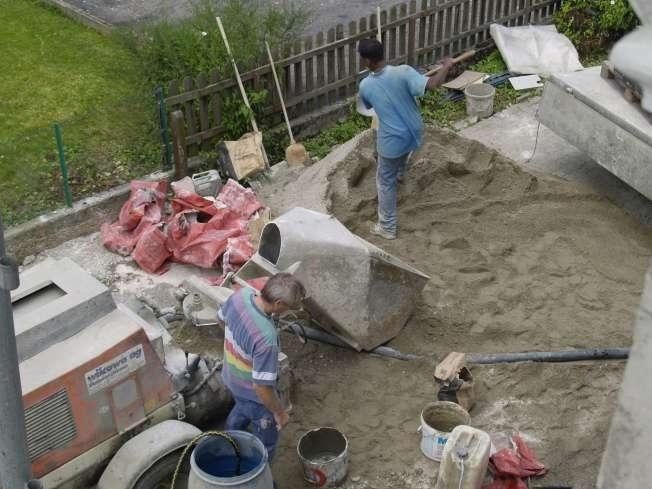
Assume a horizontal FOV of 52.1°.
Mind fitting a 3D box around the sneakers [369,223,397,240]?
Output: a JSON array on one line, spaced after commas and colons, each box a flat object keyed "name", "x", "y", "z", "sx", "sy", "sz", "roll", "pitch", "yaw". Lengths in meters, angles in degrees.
[{"name": "sneakers", "x": 0.653, "y": -0.149, "z": 7.701, "sx": 0.302, "sy": 0.139, "sz": 0.144, "roll": 27, "pitch": 48, "yaw": 15}]

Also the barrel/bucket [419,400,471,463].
[{"name": "barrel/bucket", "x": 0.950, "y": 1.542, "z": 5.439, "sx": 0.324, "sy": 0.365, "sz": 0.345, "roll": -1, "pitch": 23, "yaw": 0}]

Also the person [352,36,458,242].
[{"name": "person", "x": 0.763, "y": -1.175, "z": 7.372, "sx": 0.876, "sy": 2.012, "sz": 0.760, "roll": -21, "pitch": 40, "yaw": -16}]

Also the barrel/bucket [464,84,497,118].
[{"name": "barrel/bucket", "x": 2.303, "y": -2.153, "z": 9.956, "sx": 0.461, "sy": 0.378, "sz": 0.430, "roll": -6, "pitch": 40, "yaw": 5}]
